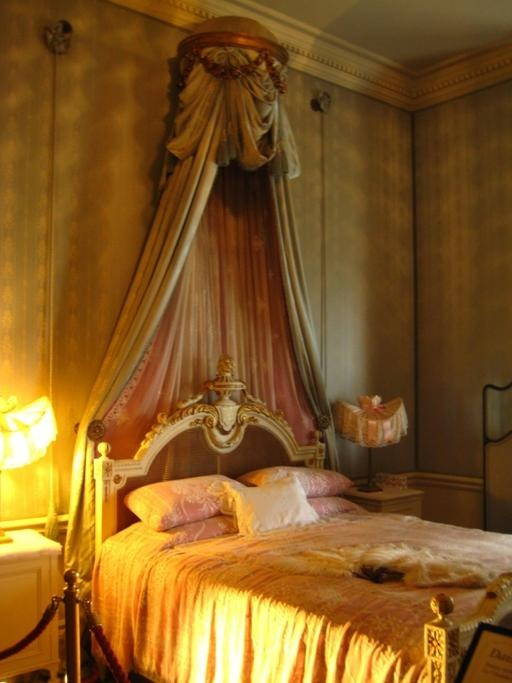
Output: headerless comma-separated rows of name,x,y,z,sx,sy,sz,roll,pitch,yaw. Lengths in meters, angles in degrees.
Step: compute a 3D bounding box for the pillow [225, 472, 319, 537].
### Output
pillow,0.079,0.808,3.256,0.379,0.241,0.101,0,-36,-46
